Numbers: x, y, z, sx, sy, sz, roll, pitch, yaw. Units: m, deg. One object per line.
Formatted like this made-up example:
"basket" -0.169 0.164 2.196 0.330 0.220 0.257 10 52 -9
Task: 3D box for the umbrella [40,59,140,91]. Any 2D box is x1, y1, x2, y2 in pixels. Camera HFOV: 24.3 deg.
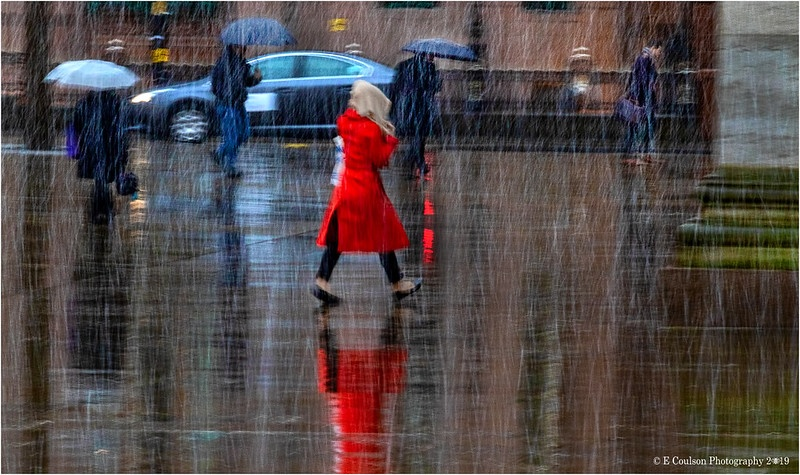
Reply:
"umbrella" -5.437 -2.765 32.308 1.422 0.588 0.946 0 1 23

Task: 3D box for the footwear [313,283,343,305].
"footwear" -1.164 0.933 29.143 0.563 0.228 0.204 38 -2 -1

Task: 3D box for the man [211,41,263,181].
"man" -3.065 -2.246 34.528 1.156 3.400 1.082 -1 32 -8

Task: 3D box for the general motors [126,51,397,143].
"general motors" -2.799 -2.965 36.258 4.790 1.578 2.135 1 -2 0

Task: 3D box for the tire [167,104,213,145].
"tire" -4.115 -2.186 35.971 0.568 0.620 0.211 4 22 -3

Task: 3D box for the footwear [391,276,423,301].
"footwear" 0.136 0.836 29.367 0.486 0.191 0.242 -43 30 -16
